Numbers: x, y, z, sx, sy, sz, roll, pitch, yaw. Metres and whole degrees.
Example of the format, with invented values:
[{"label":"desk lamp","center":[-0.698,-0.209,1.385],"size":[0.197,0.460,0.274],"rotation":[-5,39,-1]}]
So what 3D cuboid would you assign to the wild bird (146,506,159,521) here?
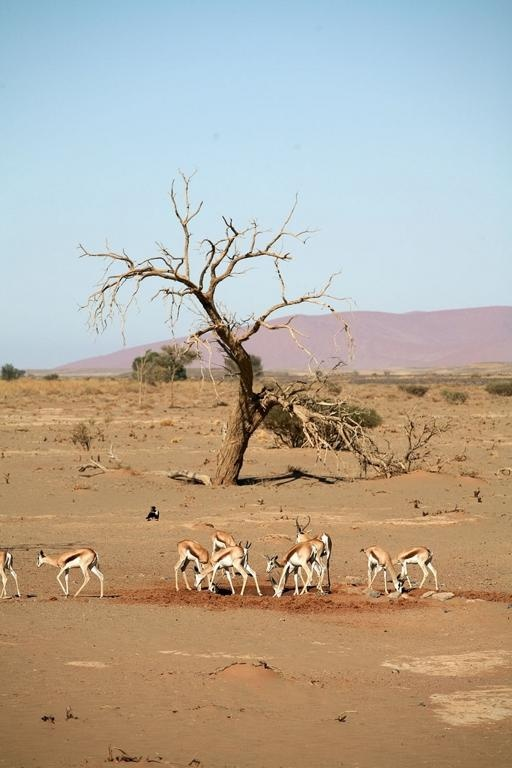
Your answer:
[{"label":"wild bird","center":[-1.983,2.540,20.457],"size":[0.237,0.272,0.269],"rotation":[4,5,-37]}]
